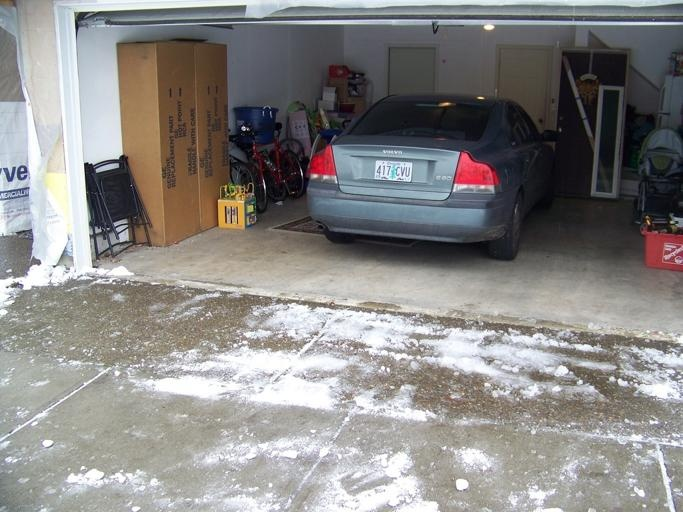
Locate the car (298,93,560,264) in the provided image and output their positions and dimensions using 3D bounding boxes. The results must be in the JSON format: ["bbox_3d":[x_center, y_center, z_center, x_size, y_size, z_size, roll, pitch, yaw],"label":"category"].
[{"bbox_3d":[1.249,-0.921,5.873,2.925,1.887,1.845,-18,25,-40],"label":"car"}]

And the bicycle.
[{"bbox_3d":[-1.610,-1.504,8.630,0.915,1.125,1.879,-9,7,21],"label":"bicycle"}]

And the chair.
[{"bbox_3d":[-2.758,-0.595,6.031,0.579,1.121,0.691,16,25,15],"label":"chair"}]

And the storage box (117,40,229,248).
[{"bbox_3d":[-2.208,-1.546,6.652,0.528,2.495,1.572,7,21,24],"label":"storage box"}]
